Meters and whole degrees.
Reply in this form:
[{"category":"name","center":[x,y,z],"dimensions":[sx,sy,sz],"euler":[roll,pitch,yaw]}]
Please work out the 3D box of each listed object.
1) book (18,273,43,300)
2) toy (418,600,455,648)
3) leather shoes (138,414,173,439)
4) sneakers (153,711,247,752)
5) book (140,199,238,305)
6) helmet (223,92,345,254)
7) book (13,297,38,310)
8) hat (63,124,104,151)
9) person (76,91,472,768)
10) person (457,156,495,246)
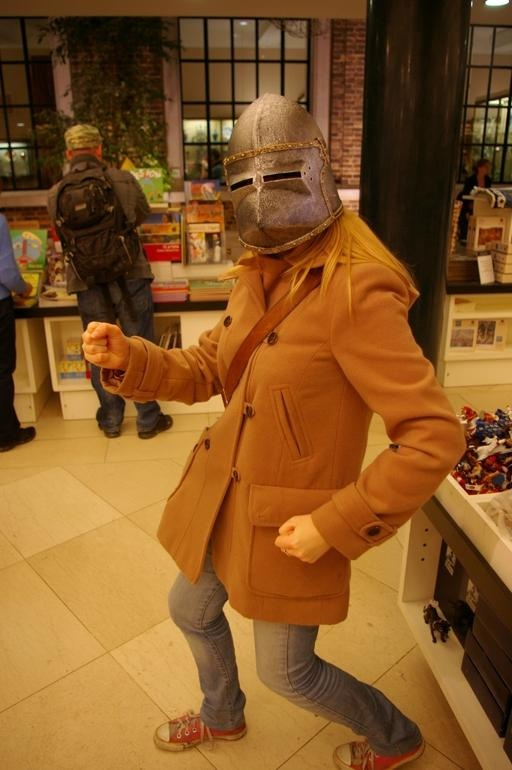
[{"category":"book","center":[-1.447,-0.643,3.615],"dimensions":[0.194,0.214,0.050],"euler":[-11,-24,5]},{"category":"toy","center":[0.524,0.686,1.626],"dimensions":[0.033,0.056,0.122],"euler":[11,6,1]},{"category":"leather shoes","center":[-0.644,0.251,3.640],"dimensions":[0.092,0.118,0.255],"euler":[10,26,21]},{"category":"sneakers","center":[-0.141,0.897,1.518],"dimensions":[0.258,0.103,0.096],"euler":[2,8,-5]},{"category":"book","center":[-0.479,-0.758,3.961],"dimensions":[0.731,1.005,0.350],"euler":[0,-2,-7]},{"category":"helmet","center":[0.046,-0.330,0.890],"dimensions":[0.188,0.230,0.130],"euler":[-4,22,-3]},{"category":"book","center":[-1.452,-0.508,3.535],"dimensions":[0.102,0.102,0.026],"euler":[0,-3,-6]},{"category":"hat","center":[-1.003,-1.371,3.235],"dimensions":[0.179,0.129,0.185],"euler":[11,56,7]},{"category":"person","center":[0.056,0.285,1.111],"dimensions":[0.667,1.537,0.405],"euler":[18,30,41]},{"category":"person","center":[2.543,-2.030,6.508],"dimensions":[0.342,1.041,0.333],"euler":[-2,16,5]}]
